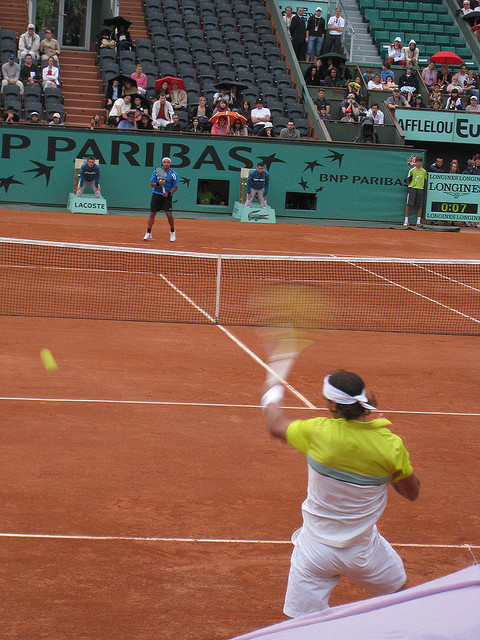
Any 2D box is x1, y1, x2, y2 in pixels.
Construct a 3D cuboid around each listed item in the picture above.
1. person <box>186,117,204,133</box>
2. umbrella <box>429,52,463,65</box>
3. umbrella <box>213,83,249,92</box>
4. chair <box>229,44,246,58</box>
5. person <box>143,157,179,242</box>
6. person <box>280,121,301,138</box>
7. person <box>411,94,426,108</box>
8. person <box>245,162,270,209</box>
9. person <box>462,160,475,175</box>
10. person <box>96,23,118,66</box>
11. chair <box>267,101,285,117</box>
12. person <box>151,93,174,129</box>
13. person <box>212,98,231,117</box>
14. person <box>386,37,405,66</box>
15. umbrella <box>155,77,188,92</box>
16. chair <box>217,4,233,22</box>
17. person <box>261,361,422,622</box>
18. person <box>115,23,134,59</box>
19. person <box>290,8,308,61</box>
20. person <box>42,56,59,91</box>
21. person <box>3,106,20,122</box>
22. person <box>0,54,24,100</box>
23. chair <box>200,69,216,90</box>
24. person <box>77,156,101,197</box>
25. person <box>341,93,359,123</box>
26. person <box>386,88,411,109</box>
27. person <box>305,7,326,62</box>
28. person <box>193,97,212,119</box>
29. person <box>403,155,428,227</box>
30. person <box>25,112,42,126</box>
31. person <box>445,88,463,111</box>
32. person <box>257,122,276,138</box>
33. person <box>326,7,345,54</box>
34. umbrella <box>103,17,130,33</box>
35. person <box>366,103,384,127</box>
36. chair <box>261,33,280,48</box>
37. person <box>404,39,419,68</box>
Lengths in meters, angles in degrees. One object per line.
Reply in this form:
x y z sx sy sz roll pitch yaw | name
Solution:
-1.289 -5.575 24.532 0.508 0.420 1.086 4 12 -4 | person
6.914 -8.795 28.618 0.657 0.269 0.609 3 0 -14 | umbrella
-0.314 -7.071 26.050 0.731 0.295 0.663 0 2 -12 | umbrella
-0.118 -9.154 29.164 0.540 0.500 0.594 1 -6 -3 | chair
-1.694 -2.592 18.554 0.701 1.775 1.363 4 13 -5 | person
1.435 -5.547 24.966 0.539 0.469 0.704 7 13 10 | person
5.895 -7.176 28.138 0.484 0.463 1.349 7 12 10 | person
0.477 -3.609 23.297 0.605 1.243 1.319 5 13 0 | person
6.881 -4.567 25.678 0.297 0.404 1.128 8 12 13 | person
-4.425 -9.185 28.402 0.645 1.280 0.395 -2 33 -21 | person
1.150 -6.669 27.109 0.645 0.574 0.552 0 11 -1 | chair
-2.251 -6.058 24.824 0.596 1.033 0.936 4 13 -5 | person
-0.553 -6.213 25.043 0.483 0.524 0.934 4 12 -4 | person
5.583 -9.526 30.398 0.658 0.963 1.011 7 13 8 | person
-2.075 -6.992 25.526 0.877 0.418 0.897 2 12 -12 | umbrella
-0.545 -11.178 31.219 0.625 0.648 0.756 0 2 -3 | chair
0.384 0.741 3.601 0.709 1.055 0.464 8 14 10 | person
-3.856 -9.166 28.287 0.599 1.131 0.902 5 13 0 | person
2.081 -9.883 29.671 0.665 1.804 0.719 3 14 -10 | person
-5.726 -7.386 25.688 0.452 0.984 0.695 2 14 -13 | person
-6.262 -5.602 23.336 0.432 0.441 0.984 1 12 -15 | person
-6.673 -7.076 24.960 0.670 1.246 1.017 1 14 -15 | person
-1.010 -7.732 27.610 0.581 0.622 0.683 0 -4 -6 | chair
-3.973 -3.725 22.486 0.630 1.100 1.705 3 12 -10 | person
3.481 -6.653 26.960 0.566 0.901 1.077 6 13 5 | person
5.006 -7.051 27.362 0.691 0.695 0.808 -3 6 1 | person
2.607 -9.867 29.819 0.641 1.817 1.209 6 14 2 | person
-1.118 -6.283 25.460 0.561 0.598 0.838 4 12 -5 | person
5.137 -3.738 24.970 0.604 2.055 0.840 8 14 9 | person
-5.677 -5.501 23.508 0.343 0.381 1.384 2 12 -14 | person
7.019 -7.178 27.832 0.567 0.751 1.056 8 13 11 | person
0.776 -5.523 24.886 0.492 0.436 1.062 5 12 0 | person
3.411 -10.233 30.301 0.529 1.572 0.721 1 15 -18 | person
-3.990 -9.668 27.837 0.652 0.363 0.590 2 -4 -2 | umbrella
4.267 -6.405 26.838 0.618 0.737 0.878 -2 15 1 | person
1.115 -9.903 30.232 0.749 0.606 0.656 1 4 -3 | chair
6.076 -9.394 30.308 0.524 0.943 1.113 7 13 8 | person
